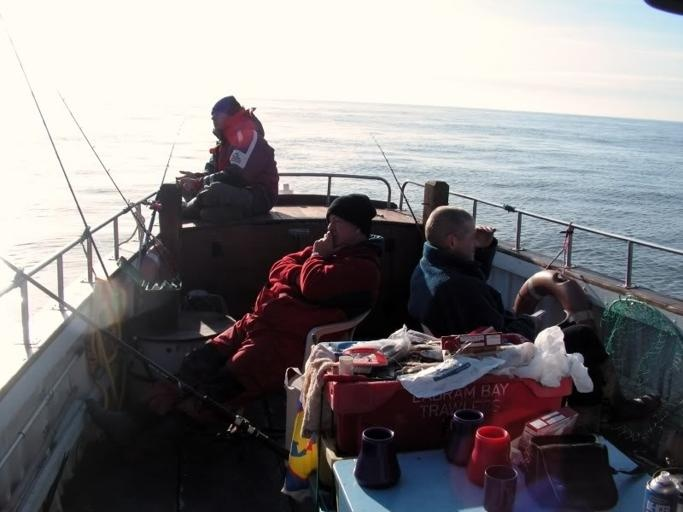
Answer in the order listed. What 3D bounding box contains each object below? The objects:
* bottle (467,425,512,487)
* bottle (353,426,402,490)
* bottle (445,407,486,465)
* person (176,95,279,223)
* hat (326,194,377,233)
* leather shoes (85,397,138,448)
[{"bbox_3d":[0.561,0.732,1.937,0.134,0.196,0.202,5,0,34],"label":"bottle"},{"bbox_3d":[0.133,0.734,1.853,0.169,0.177,0.104,1,27,1],"label":"bottle"},{"bbox_3d":[0.460,0.698,2.039,0.131,0.199,0.194,4,6,3],"label":"bottle"},{"bbox_3d":[-1.194,-0.995,5.799,0.957,1.667,0.962,-4,16,-38],"label":"person"},{"bbox_3d":[0.068,-0.353,3.895,0.330,0.294,0.383,4,11,-8],"label":"hat"},{"bbox_3d":[-1.503,1.124,3.359,0.354,0.124,0.268,37,4,-19],"label":"leather shoes"}]
